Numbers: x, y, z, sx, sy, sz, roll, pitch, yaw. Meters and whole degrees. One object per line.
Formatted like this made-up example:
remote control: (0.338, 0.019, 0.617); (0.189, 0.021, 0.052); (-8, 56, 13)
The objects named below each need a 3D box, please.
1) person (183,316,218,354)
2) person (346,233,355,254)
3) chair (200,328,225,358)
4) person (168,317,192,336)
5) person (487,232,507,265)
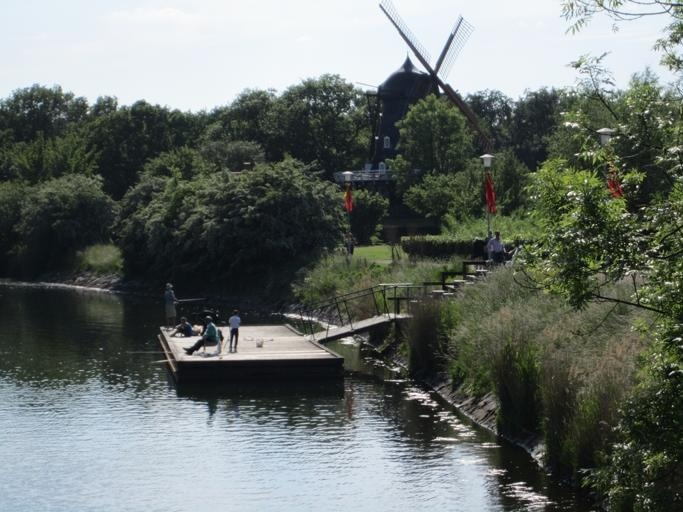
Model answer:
person: (-5.064, 2.943, 44.198); (1.171, 1.253, 1.907); (-1, 8, -6)
person: (0.523, -0.723, 73.992); (0.642, 0.806, 1.158); (-1, -4, -1)
chair: (-4.696, 3.239, 43.806); (0.845, 1.521, 0.757); (3, -4, -10)
person: (-6.526, 2.994, 48.931); (0.848, 0.980, 0.672); (-9, 3, -4)
person: (6.070, -0.291, 47.252); (0.638, 1.188, 2.006); (1, 8, 7)
